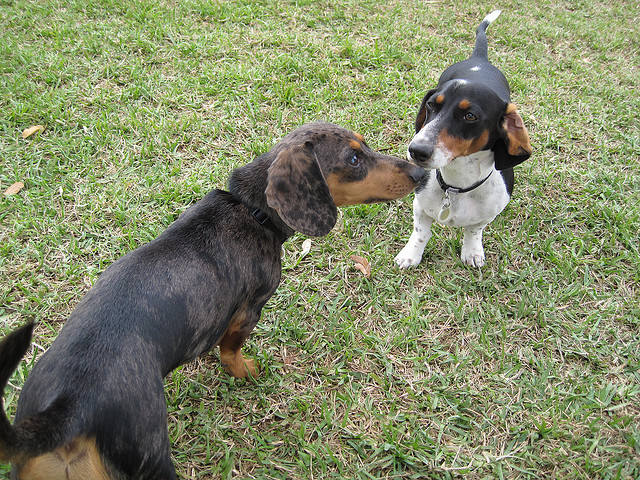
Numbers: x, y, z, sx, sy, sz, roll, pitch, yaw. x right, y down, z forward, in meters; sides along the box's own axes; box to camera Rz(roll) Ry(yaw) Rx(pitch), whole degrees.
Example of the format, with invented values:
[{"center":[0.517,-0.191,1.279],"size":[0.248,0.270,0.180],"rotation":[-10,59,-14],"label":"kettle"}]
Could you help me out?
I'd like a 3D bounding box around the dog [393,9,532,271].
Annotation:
[{"center":[1.119,-0.935,4.717],"size":[1.421,1.815,1.475],"rotation":[31,45,29],"label":"dog"}]
